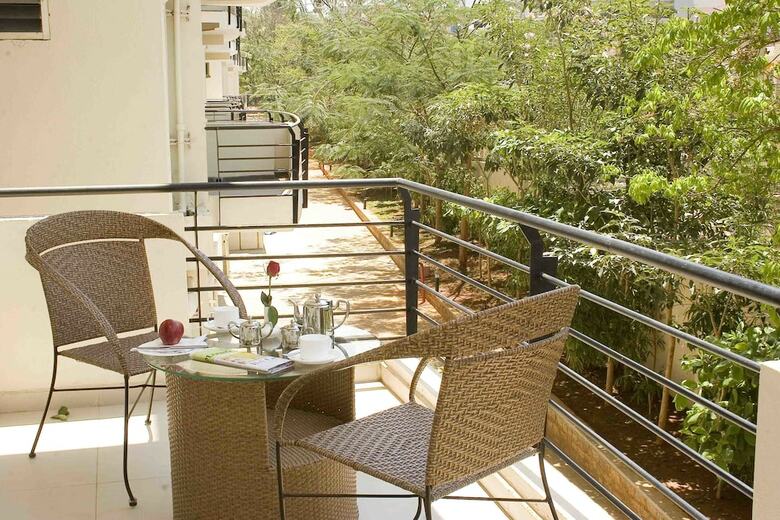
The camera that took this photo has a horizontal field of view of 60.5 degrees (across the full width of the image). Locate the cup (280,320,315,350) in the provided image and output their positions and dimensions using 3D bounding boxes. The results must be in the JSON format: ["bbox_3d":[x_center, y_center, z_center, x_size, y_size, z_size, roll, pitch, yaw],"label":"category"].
[{"bbox_3d":[-0.421,0.359,3.070,0.153,0.117,0.087,2,3,-3],"label":"cup"}]

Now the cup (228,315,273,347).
[{"bbox_3d":[-0.650,0.342,3.125,0.115,0.111,0.191,-2,-5,26],"label":"cup"}]

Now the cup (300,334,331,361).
[{"bbox_3d":[-0.316,0.374,2.812,0.097,0.081,0.123,-1,-2,-4],"label":"cup"}]

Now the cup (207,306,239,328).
[{"bbox_3d":[-0.801,0.272,3.196,0.124,0.080,0.092,-2,9,-10],"label":"cup"}]

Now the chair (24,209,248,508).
[{"bbox_3d":[-1.501,0.594,3.751,1.230,1.645,1.268,12,17,36],"label":"chair"}]
